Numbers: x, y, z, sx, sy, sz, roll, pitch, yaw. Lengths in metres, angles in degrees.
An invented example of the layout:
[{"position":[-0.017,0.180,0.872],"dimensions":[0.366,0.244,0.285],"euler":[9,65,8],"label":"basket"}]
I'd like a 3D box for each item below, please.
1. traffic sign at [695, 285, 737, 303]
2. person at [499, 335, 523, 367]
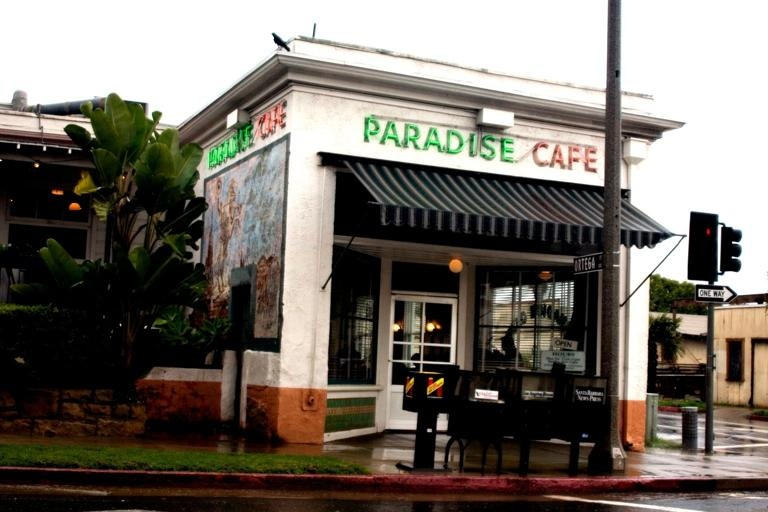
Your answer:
[{"position":[7.363,0.827,21.593],"dimensions":[1.096,0.443,0.015],"euler":[3,-17,-9],"label":"traffic sign"},{"position":[3.162,2.342,23.914],"dimensions":[0.509,0.772,0.190],"euler":[0,-4,10],"label":"person"}]
